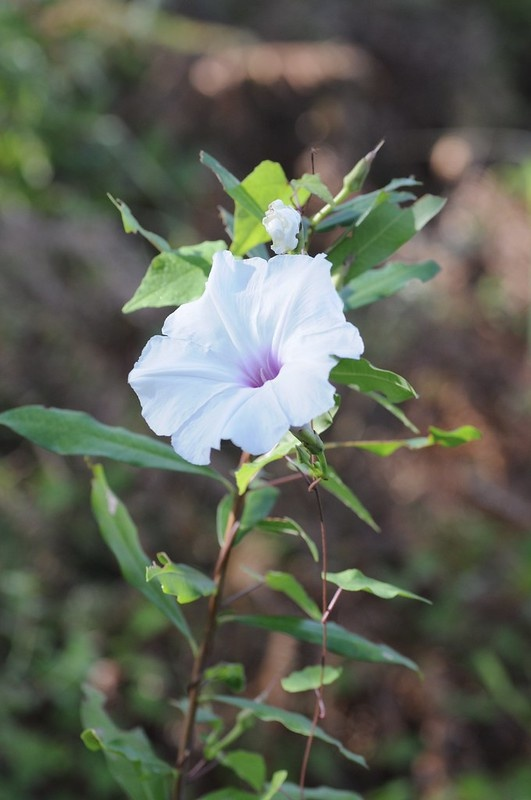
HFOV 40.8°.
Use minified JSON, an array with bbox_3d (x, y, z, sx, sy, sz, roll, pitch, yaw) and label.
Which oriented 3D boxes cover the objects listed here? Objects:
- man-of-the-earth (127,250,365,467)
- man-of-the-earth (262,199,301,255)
[{"bbox_3d":[-0.024,-0.063,0.925,0.291,0.187,0.276,18,46,19],"label":"man-of-the-earth"},{"bbox_3d":[0.024,-0.231,0.956,0.052,0.073,0.043,0,10,35],"label":"man-of-the-earth"}]
